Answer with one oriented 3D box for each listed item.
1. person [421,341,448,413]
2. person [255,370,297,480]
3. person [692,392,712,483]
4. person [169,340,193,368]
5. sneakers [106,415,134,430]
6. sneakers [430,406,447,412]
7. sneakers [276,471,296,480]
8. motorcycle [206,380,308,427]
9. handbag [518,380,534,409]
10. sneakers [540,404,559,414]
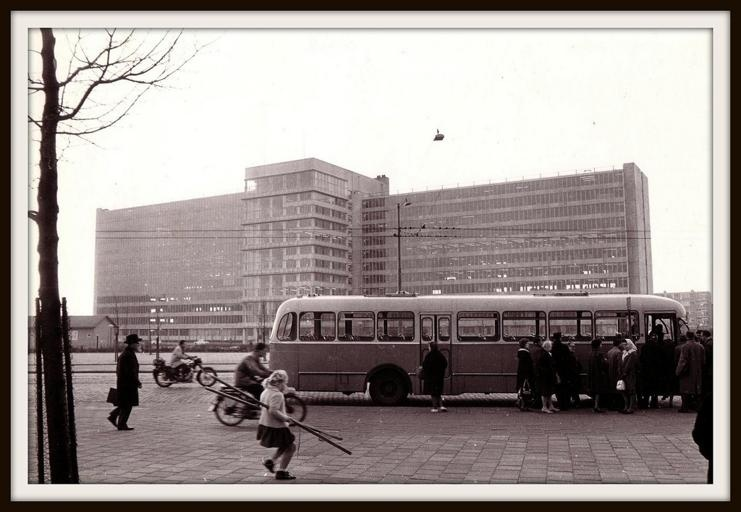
[{"bbox_3d":[1.614,3.056,21.965,0.634,1.712,1.243,-1,-2,3],"label":"person"},{"bbox_3d":[-1.515,2.730,13.956,0.614,1.771,0.891,0,-2,-6],"label":"person"},{"bbox_3d":[4.583,2.522,11.860,0.268,1.340,0.796,-1,-2,20],"label":"person"},{"bbox_3d":[-6.246,3.199,28.066,0.615,0.893,1.511,0,-3,-11],"label":"person"},{"bbox_3d":[-5.431,3.621,18.644,0.540,0.243,0.185,30,-14,-39],"label":"sneakers"},{"bbox_3d":[1.695,3.850,21.593,0.405,0.195,0.167,-1,-7,23],"label":"sneakers"},{"bbox_3d":[-1.384,3.545,13.931,0.267,0.111,0.143,1,-7,-6],"label":"sneakers"},{"bbox_3d":[-2.481,3.316,18.437,2.067,1.346,1.142,-3,-6,4],"label":"motorcycle"},{"bbox_3d":[3.929,3.456,21.669,0.412,0.842,0.790,-1,-2,10],"label":"handbag"},{"bbox_3d":[4.505,3.813,21.436,0.571,0.253,0.182,1,-2,-31],"label":"sneakers"}]
